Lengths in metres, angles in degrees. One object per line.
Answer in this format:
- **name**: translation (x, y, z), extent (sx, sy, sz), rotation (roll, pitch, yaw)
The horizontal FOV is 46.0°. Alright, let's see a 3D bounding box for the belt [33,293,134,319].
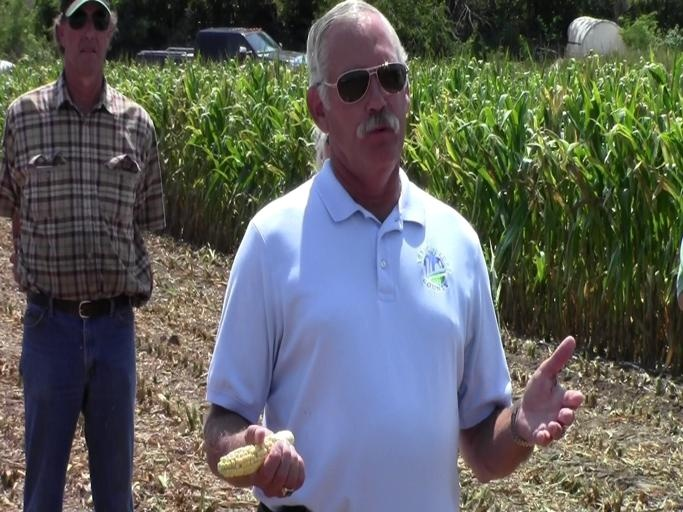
- **belt**: translation (-1.556, 0.299, 4.744), extent (0.572, 0.124, 0.126), rotation (3, 6, -16)

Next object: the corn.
- **corn**: translation (-0.390, 0.838, 3.314), extent (0.266, 0.128, 0.101), rotation (0, 23, -29)
